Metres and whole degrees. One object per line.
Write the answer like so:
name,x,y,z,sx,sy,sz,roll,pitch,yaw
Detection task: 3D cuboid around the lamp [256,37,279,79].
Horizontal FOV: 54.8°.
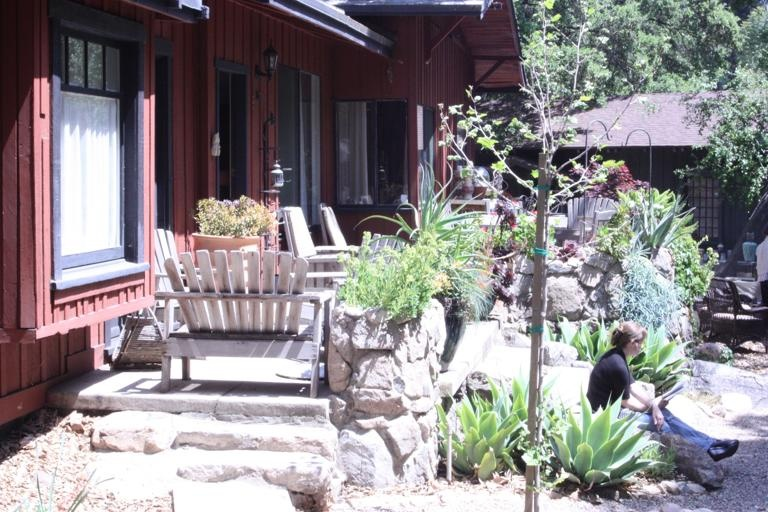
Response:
lamp,-1.688,-2.902,10.975,0.306,0.564,0.619,0,9,6

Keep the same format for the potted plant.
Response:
potted plant,0.227,0.104,7.914,1.773,2.615,1.871,0,3,21

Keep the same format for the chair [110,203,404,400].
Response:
chair,-1.315,0.326,7.877,1.384,1.718,2.381,1,6,0

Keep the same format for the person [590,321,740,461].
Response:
person,2.873,1.380,7.586,0.561,1.100,1.536,-6,8,-26
